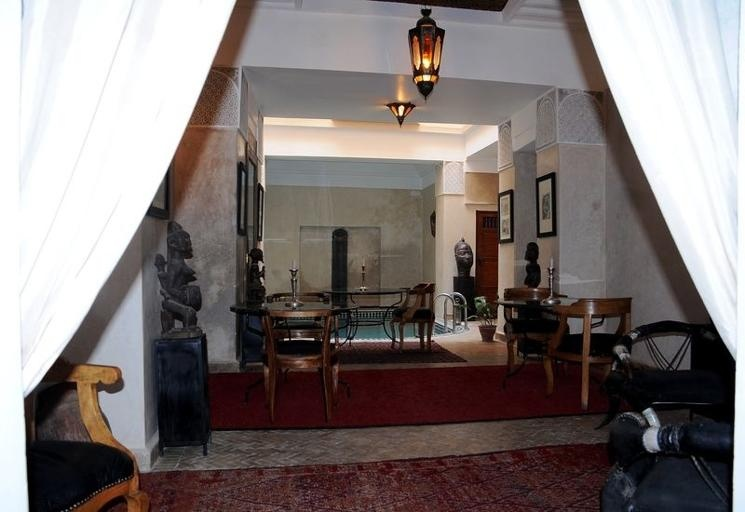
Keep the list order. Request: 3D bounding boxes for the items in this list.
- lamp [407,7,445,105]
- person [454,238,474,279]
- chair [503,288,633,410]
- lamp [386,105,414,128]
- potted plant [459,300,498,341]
[{"bbox_3d":[0.531,-2.046,5.555,0.327,0.866,0.392,0,4,4],"label":"lamp"},{"bbox_3d":[1.904,0.029,11.839,0.376,0.822,0.419,2,5,33],"label":"person"},{"bbox_3d":[1.992,0.866,5.726,0.897,1.116,1.422,0,2,-20],"label":"chair"},{"bbox_3d":[0.419,-2.070,8.098,0.408,0.295,0.286,1,4,27],"label":"lamp"},{"bbox_3d":[1.875,1.148,9.986,0.804,0.843,0.829,1,1,24],"label":"potted plant"}]
